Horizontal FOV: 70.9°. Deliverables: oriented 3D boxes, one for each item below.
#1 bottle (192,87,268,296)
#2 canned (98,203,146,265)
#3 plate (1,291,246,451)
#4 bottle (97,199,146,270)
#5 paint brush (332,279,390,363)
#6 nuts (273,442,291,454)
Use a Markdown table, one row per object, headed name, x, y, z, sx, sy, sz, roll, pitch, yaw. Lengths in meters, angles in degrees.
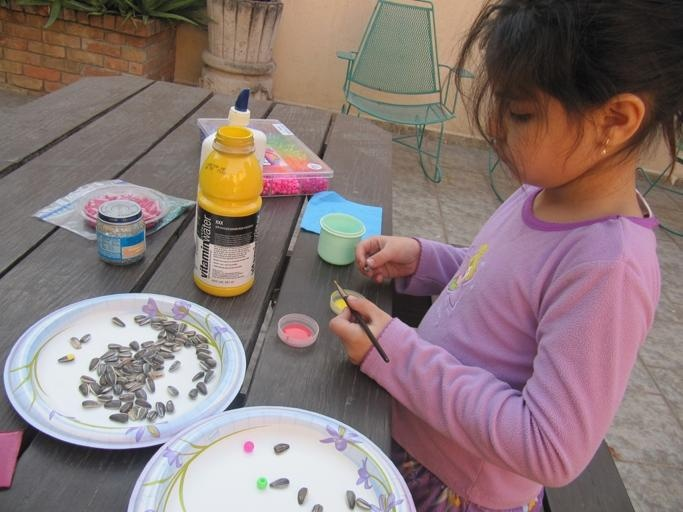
| name | x | y | z | sx | sy | sz | roll | pitch | yaw |
| --- | --- | --- | --- | --- | --- | --- | --- | --- | --- |
| bottle | -0.198 | -0.091 | 0.964 | 0.175 | 0.416 | 0.207 | 1 | 31 | -15 |
| canned | -0.450 | -0.050 | 0.984 | 0.088 | 0.102 | 0.109 | 4 | 42 | -8 |
| plate | -0.328 | 0.169 | 0.758 | 0.343 | 0.048 | 0.285 | 13 | 42 | 1 |
| bottle | -0.453 | -0.039 | 1.011 | 0.087 | 0.136 | 0.086 | 7 | 26 | -3 |
| paint brush | 0.015 | 0.111 | 0.909 | 0.042 | 0.019 | 0.268 | 28 | 21 | -39 |
| nuts | -0.087 | 0.277 | 0.688 | 0.016 | 0.005 | 0.012 | -4 | 33 | -21 |
